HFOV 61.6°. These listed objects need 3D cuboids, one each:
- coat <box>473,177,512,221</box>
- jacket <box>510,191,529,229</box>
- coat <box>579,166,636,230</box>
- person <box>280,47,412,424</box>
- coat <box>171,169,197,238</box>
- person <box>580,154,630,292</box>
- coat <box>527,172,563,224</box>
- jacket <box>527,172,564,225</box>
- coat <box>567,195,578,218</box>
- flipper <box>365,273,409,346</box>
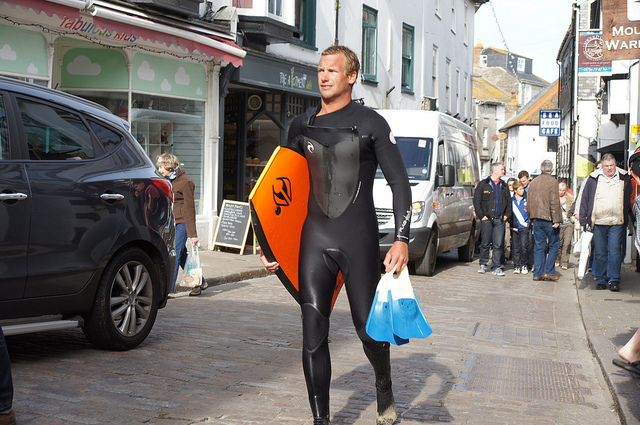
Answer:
[{"bbox_3d":[4.382,-0.354,13.496,0.993,1.032,0.349,1,7,-7],"label":"coat"},{"bbox_3d":[5.238,-0.033,13.954,0.208,0.824,0.561,-4,5,-16],"label":"jacket"},{"bbox_3d":[5.812,-0.256,10.809,0.553,1.357,1.411,0,1,19],"label":"coat"},{"bbox_3d":[0.179,0.238,3.885,0.927,2.863,0.612,2,6,2],"label":"person"},{"bbox_3d":[-2.281,-0.167,9.467,0.394,1.242,0.604,0,-1,0],"label":"coat"},{"bbox_3d":[6.024,0.140,11.180,1.168,2.847,0.964,2,-1,13],"label":"person"},{"bbox_3d":[5.176,-0.335,12.336,0.747,1.078,0.334,4,7,22],"label":"coat"},{"bbox_3d":[5.206,-0.337,12.483,0.423,1.136,0.878,3,1,-30],"label":"jacket"},{"bbox_3d":[6.293,-0.109,13.401,0.163,0.511,0.834,5,7,25],"label":"coat"},{"bbox_3d":[0.486,0.655,3.733,0.266,0.458,0.249,-2,0,27],"label":"flipper"}]
